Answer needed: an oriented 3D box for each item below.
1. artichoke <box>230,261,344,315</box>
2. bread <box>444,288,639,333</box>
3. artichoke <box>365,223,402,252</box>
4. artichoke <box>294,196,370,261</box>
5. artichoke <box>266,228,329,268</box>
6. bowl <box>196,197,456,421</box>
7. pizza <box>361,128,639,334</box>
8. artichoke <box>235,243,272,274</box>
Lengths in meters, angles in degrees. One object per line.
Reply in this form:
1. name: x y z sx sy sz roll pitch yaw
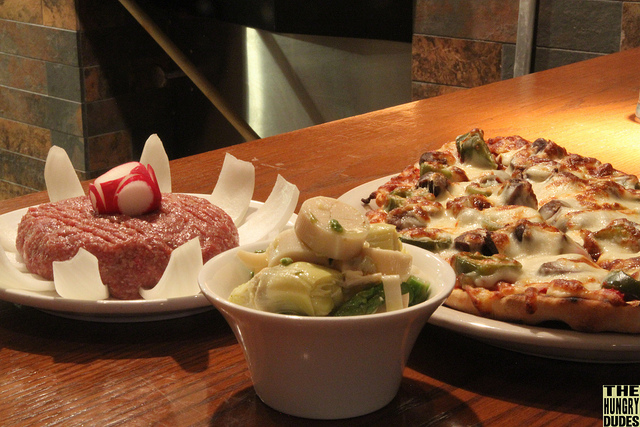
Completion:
1. artichoke: -0.035 0.068 0.502 0.111 0.041 0.082 4 12 20
2. bread: 0.247 0.110 0.593 0.208 0.045 0.030 7 24 19
3. artichoke: 0.061 0.022 0.524 0.043 0.026 0.031 -2 5 -20
4. artichoke: 0.019 0.014 0.508 0.063 0.030 0.061 -4 41 -42
5. artichoke: -0.028 0.030 0.543 0.050 0.034 0.074 8 13 38
6. bowl: 0.008 0.088 0.530 0.246 0.201 0.159 5 24 14
7. pizza: 0.290 -0.066 0.713 0.334 0.041 0.357 6 26 6
8. artichoke: -0.071 0.042 0.535 0.044 0.025 0.032 9 9 -24
